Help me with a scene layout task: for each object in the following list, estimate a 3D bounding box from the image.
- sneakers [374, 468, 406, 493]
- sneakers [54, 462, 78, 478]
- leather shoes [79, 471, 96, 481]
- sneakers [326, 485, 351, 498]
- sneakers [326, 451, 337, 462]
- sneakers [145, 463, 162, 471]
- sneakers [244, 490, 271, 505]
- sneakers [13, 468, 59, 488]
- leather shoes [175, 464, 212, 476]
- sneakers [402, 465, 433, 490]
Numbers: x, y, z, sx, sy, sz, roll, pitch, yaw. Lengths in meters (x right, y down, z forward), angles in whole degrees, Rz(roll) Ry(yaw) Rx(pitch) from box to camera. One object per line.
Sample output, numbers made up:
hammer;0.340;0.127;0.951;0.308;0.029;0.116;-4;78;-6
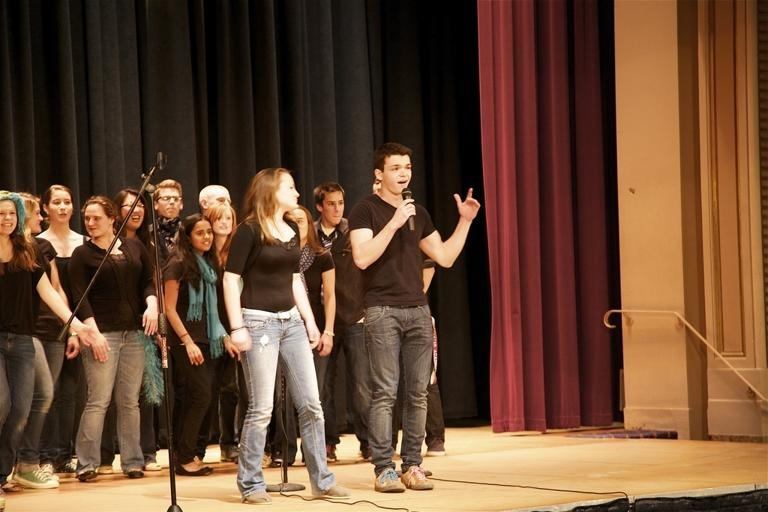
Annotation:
sneakers;0.051;1.502;5.996;0.110;0.102;0.236;3;-13;-24
sneakers;-2.464;1.669;7.035;0.258;0.113;0.088;-1;4;-18
leather shoes;-2.173;1.608;6.572;0.142;0.061;0.062;-26;-23;17
sneakers;-0.305;1.543;5.900;0.144;0.055;0.073;-2;-7;7
sneakers;-0.429;1.634;7.285;0.120;0.088;0.041;0;-6;-6
sneakers;-1.815;1.643;7.020;0.053;0.052;0.141;6;-11;-38
sneakers;-0.829;1.555;5.795;0.151;0.066;0.082;-5;-8;15
sneakers;-2.524;1.615;6.541;0.357;0.148;0.139;0;-6;4
leather shoes;-1.422;1.612;6.713;0.286;0.119;0.099;-4;-10;4
sneakers;0.216;1.520;6.134;0.110;0.108;0.244;-1;-16;-34
